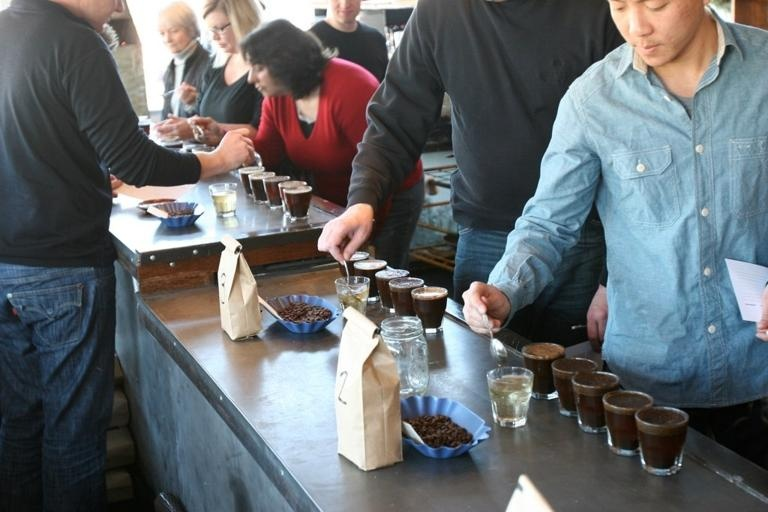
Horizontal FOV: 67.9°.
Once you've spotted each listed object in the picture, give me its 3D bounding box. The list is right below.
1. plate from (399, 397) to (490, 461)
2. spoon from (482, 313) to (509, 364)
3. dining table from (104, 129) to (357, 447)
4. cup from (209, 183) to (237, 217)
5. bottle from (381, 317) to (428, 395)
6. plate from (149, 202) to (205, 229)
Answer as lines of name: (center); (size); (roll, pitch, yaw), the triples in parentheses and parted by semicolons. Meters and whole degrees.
plate: (0.157, 0.431, 1.446); (0.226, 0.076, 0.176); (-2, 22, 1)
spoon: (0.329, 0.218, 1.651); (0.057, 0.210, 0.029); (19, 59, 26)
dining table: (-0.568, 0.133, 2.780); (0.956, 1.293, 1.350); (-17, 34, -28)
cup: (-0.849, -0.283, 2.961); (0.154, 0.157, 0.150); (-2, 9, 0)
bottle: (0.062, 0.284, 1.664); (0.123, 0.187, 0.184); (-9, 23, -15)
plate: (-1.025, -0.213, 2.865); (0.206, 0.069, 0.198); (18, 30, 35)
